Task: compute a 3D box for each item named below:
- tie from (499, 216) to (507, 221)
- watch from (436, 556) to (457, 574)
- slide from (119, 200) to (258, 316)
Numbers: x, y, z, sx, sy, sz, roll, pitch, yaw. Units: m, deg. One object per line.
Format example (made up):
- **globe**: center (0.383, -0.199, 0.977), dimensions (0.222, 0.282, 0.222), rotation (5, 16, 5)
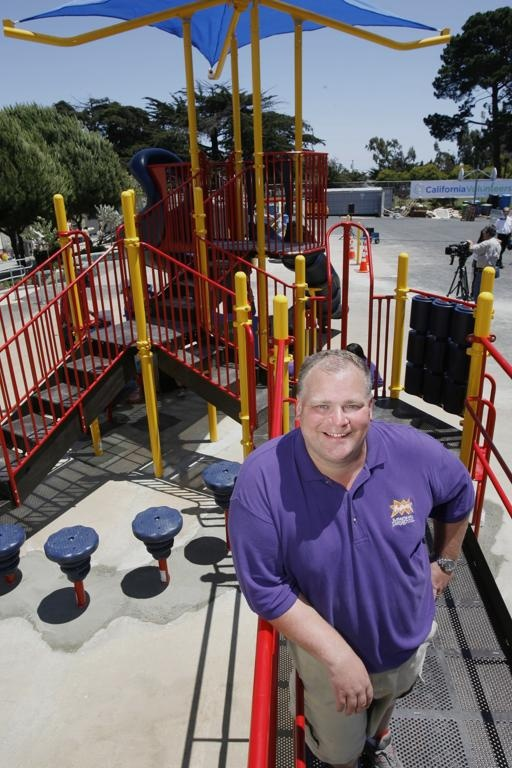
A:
- **tie**: center (8.572, -5.833, 17.879), dimensions (0.238, 0.120, 0.326), rotation (2, 1, 14)
- **watch**: center (0.621, 0.591, 1.678), dimensions (0.052, 0.041, 0.069), rotation (21, -10, 6)
- **slide**: center (-0.809, -1.599, 6.336), dimensions (1.358, 1.728, 1.021), rotation (-18, 45, -17)
